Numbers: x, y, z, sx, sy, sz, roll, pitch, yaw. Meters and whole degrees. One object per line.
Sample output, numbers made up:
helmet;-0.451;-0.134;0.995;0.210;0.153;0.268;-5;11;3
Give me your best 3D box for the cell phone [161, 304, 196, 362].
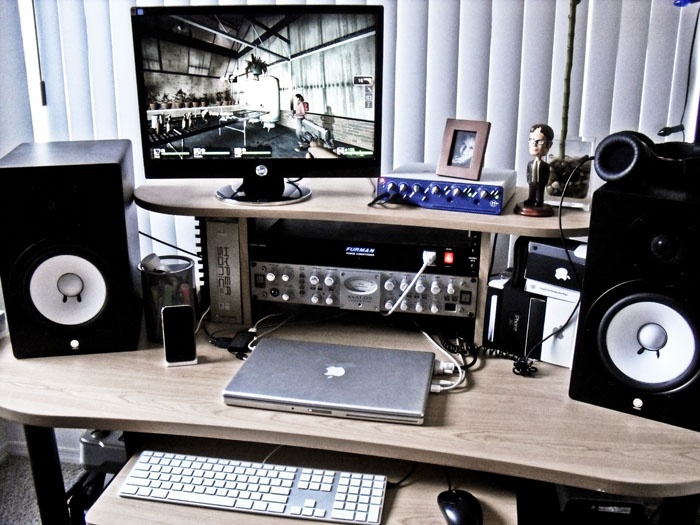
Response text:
cell phone;-0.447;0.192;1.486;0.090;0.152;0.017;1;-12;-43
